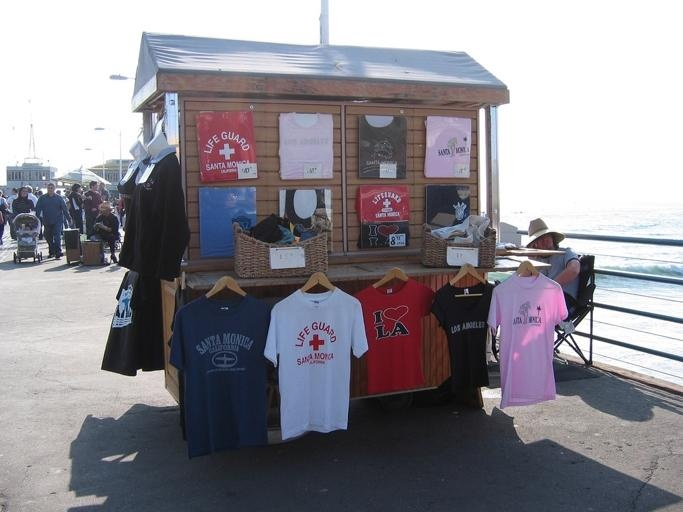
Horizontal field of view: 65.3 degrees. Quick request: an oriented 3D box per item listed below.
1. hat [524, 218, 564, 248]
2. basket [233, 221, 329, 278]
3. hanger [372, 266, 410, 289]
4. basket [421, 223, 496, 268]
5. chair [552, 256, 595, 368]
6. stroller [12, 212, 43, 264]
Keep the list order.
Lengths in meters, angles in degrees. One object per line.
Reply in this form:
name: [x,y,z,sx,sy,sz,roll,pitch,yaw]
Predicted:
hat: [2.488,-0.235,6.697,0.436,0.240,0.449,-24,-11,-13]
basket: [-0.415,-0.011,4.462,0.820,0.512,0.460,-2,-12,3]
hanger: [0.414,0.183,4.446,0.292,0.178,0.205,0,10,4]
basket: [0.968,-0.044,4.594,0.420,0.236,0.433,0,7,0]
chair: [2.799,0.678,6.702,0.776,1.290,0.797,-4,-1,27]
stroller: [-8.452,-0.471,14.379,0.743,1.272,0.911,-2,-3,-8]
